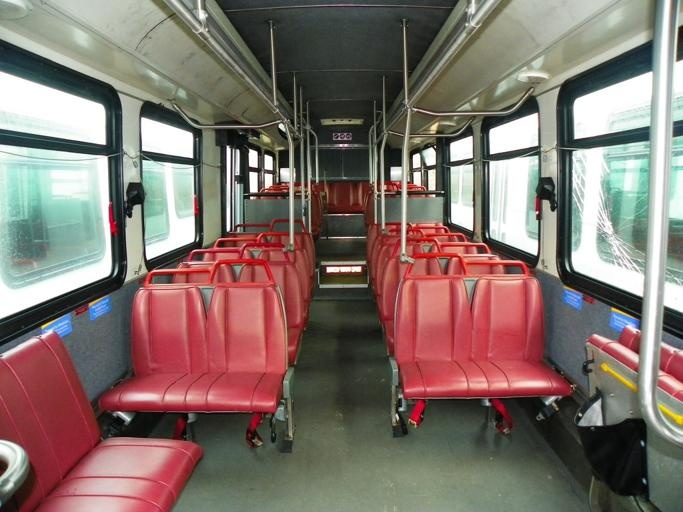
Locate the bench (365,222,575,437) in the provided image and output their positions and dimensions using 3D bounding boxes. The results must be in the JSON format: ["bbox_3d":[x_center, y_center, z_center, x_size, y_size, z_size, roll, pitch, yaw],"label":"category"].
[{"bbox_3d":[1.010,0.636,4.364,1.289,1.592,1.641,1,-5,-1],"label":"bench"}]
